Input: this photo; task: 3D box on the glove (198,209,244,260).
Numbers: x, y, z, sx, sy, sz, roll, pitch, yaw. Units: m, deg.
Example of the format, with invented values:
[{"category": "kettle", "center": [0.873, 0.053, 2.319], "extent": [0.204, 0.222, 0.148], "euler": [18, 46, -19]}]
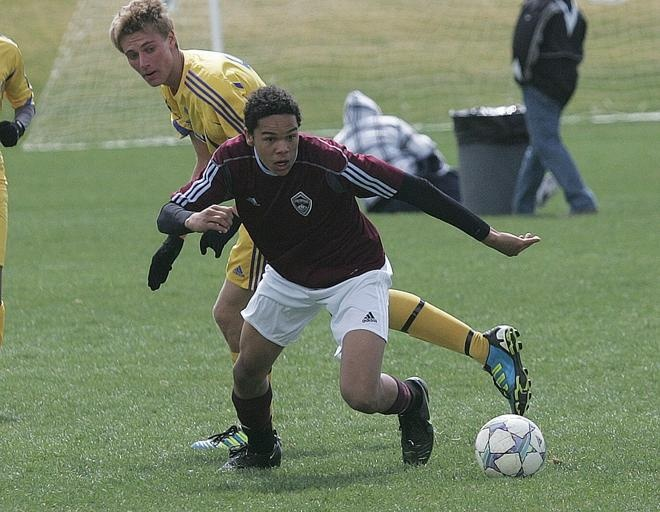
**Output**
[{"category": "glove", "center": [-0.635, -0.127, 5.599], "extent": [0.224, 0.082, 0.567], "euler": [13, 21, 9]}]

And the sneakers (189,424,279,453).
[{"category": "sneakers", "center": [-0.570, 1.085, 5.815], "extent": [0.554, 0.242, 0.198], "euler": [-1, -9, 4]}]

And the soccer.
[{"category": "soccer", "center": [0.978, 1.040, 5.199], "extent": [0.287, 0.268, 0.325], "euler": [-14, -18, 0]}]

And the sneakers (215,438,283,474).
[{"category": "sneakers", "center": [-0.454, 1.161, 5.589], "extent": [0.416, 0.183, 0.147], "euler": [-2, -3, -2]}]

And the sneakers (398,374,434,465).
[{"category": "sneakers", "center": [0.505, 0.928, 5.468], "extent": [0.157, 0.508, 0.207], "euler": [-4, -3, 42]}]

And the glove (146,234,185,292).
[{"category": "glove", "center": [-0.975, 0.035, 5.637], "extent": [0.183, 0.331, 0.078], "euler": [29, -2, -9]}]
